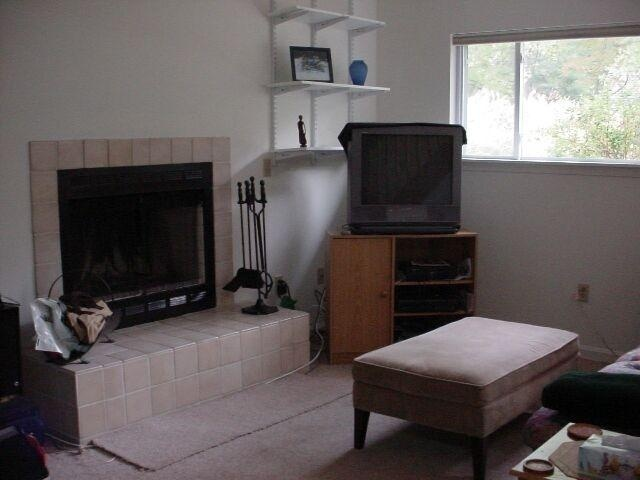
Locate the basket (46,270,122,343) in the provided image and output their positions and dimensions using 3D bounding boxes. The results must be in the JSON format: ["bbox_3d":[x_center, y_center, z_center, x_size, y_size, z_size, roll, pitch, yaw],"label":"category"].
[{"bbox_3d":[-1.210,0.390,2.791,0.340,0.383,0.367,-6,12,-30],"label":"basket"}]

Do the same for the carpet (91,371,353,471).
[{"bbox_3d":[-0.426,0.928,2.873,1.403,0.056,0.497,-10,14,-43],"label":"carpet"}]

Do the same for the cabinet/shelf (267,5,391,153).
[{"bbox_3d":[0.036,-1.182,3.893,0.363,1.135,1.255,4,7,38],"label":"cabinet/shelf"}]

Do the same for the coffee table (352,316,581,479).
[{"bbox_3d":[0.599,0.487,2.444,0.609,0.412,0.930,4,10,40],"label":"coffee table"}]

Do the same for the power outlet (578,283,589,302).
[{"bbox_3d":[1.843,0.372,3.720,0.077,0.133,0.023,4,11,25],"label":"power outlet"}]

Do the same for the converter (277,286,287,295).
[{"bbox_3d":[-0.273,0.364,3.873,0.073,0.070,0.045,1,5,-37],"label":"converter"}]
